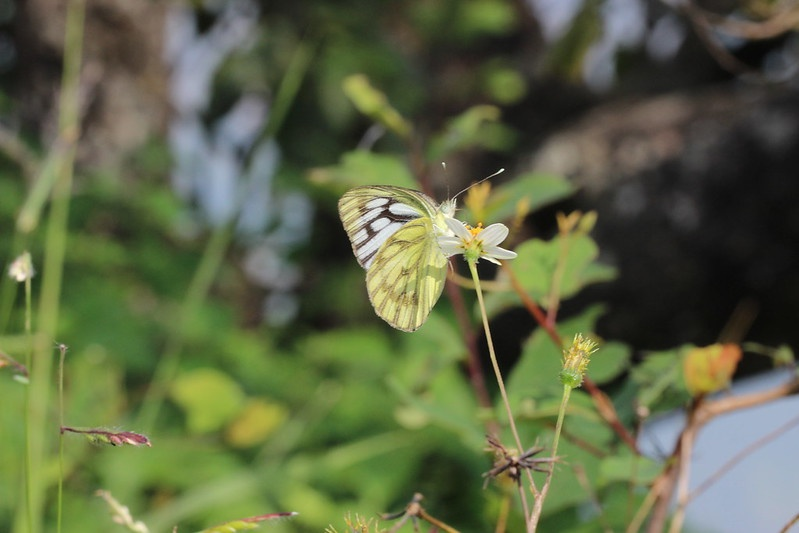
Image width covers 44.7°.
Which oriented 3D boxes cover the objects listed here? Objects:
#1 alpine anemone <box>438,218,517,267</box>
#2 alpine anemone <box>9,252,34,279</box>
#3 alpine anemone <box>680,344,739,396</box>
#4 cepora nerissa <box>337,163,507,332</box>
[{"bbox_3d":[0.162,-0.063,1.980,0.117,0.142,0.092,6,13,19],"label":"alpine anemone"},{"bbox_3d":[-0.747,-0.002,1.922,0.022,0.062,0.045,4,9,42],"label":"alpine anemone"},{"bbox_3d":[0.632,0.206,1.953,0.116,0.099,0.039,-10,-16,4],"label":"alpine anemone"},{"bbox_3d":[0.066,-0.039,2.068,0.411,0.330,0.212,-19,-19,31],"label":"cepora nerissa"}]
